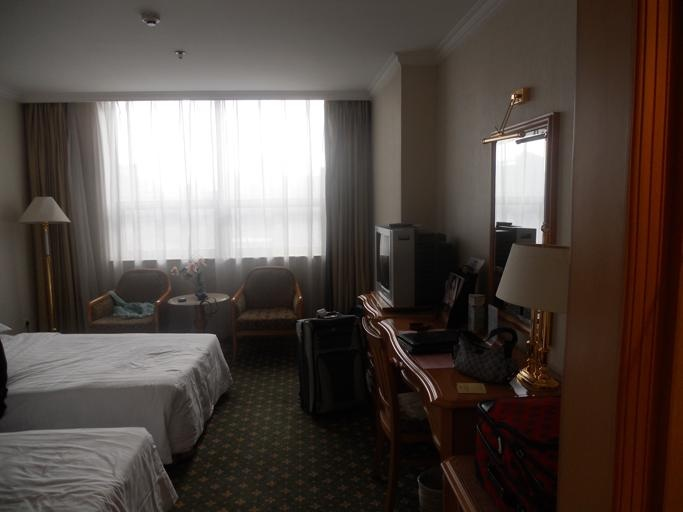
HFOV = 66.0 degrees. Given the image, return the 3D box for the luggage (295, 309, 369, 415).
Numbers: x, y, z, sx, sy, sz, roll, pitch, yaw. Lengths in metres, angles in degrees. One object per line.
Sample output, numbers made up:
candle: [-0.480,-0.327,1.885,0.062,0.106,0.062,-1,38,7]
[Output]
luggage: [-0.031,0.812,3.870,0.478,0.735,0.387,-5,-18,-7]

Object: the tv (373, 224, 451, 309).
tv: [0.506,0.081,3.983,0.392,0.650,0.765,0,4,-5]

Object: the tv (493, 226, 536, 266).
tv: [0.969,-0.053,2.953,0.169,0.362,0.169,-2,9,-4]

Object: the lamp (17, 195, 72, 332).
lamp: [-2.956,0.226,5.321,0.438,1.652,0.446,0,3,44]

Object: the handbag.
handbag: [0.659,0.446,2.431,0.280,0.271,0.147,7,-11,35]

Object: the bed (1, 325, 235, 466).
bed: [-1.393,0.782,3.138,0.852,0.260,0.908,0,3,-4]

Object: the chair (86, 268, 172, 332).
chair: [-2.104,0.617,5.372,0.655,1.059,0.769,0,-4,-4]

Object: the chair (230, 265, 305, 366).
chair: [-0.763,0.585,5.395,0.672,0.803,0.896,-2,10,-10]

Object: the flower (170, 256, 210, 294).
flower: [-1.594,0.191,5.601,0.393,0.451,0.389,2,-3,-24]

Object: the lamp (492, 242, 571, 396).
lamp: [0.830,0.261,2.241,0.282,0.629,0.292,-9,12,-42]
